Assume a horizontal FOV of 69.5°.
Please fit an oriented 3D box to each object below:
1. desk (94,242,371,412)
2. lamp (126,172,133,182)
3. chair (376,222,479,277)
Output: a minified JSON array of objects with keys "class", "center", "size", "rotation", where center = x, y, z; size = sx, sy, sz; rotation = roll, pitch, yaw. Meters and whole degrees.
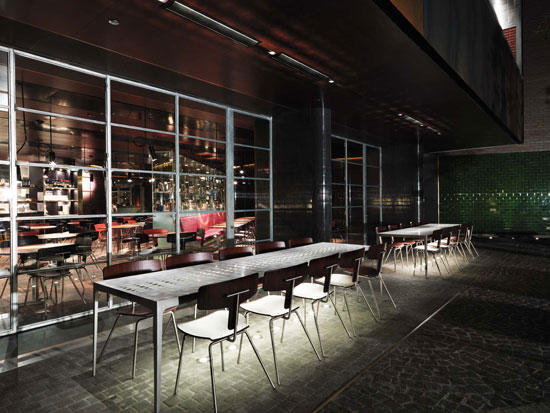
[{"class":"desk","center":[-0.377,1.345,5.499],"size":[1.643,1.575,3.714],"rotation":[-5,-2,40]},{"class":"lamp","center":[-2.594,-0.505,7.046],"size":[0.090,0.171,0.753],"rotation":[-5,0,-21]},{"class":"chair","center":[3.414,0.938,9.035],"size":[1.505,1.123,2.455],"rotation":[-4,-1,27]}]
